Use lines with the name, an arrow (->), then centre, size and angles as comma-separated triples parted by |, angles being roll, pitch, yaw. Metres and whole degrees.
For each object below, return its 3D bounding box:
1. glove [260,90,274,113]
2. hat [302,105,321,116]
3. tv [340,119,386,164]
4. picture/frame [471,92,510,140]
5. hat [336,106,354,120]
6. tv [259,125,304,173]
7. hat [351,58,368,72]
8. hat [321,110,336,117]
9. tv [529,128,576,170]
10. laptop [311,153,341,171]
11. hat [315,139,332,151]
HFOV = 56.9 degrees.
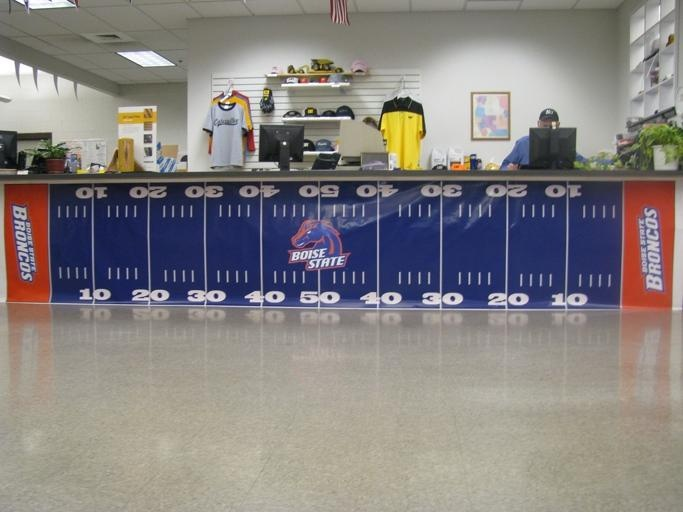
glove -> -1.055, -2.211, 8.961 | 0.212, 0.350, 0.186 | -2, 9, -8
hat -> -0.438, -2.018, 8.809 | 0.199, 0.194, 0.193 | 4, 3, 2
tv -> 0.222, -1.195, 6.638 | 0.425, 0.374, 0.432 | -3, 6, -6
picture/frame -> 2.098, -1.960, 8.744 | 0.635, 0.766, 0.051 | 1, -1, 0
hat -> 0.057, -1.988, 8.695 | 0.276, 0.230, 0.430 | 2, 14, 5
tv -> -0.607, -1.117, 6.434 | 0.409, 0.450, 0.322 | 7, 11, 39
hat -> 0.272, -2.618, 8.697 | 0.266, 0.188, 0.216 | -3, 9, -18
hat -> -0.156, -1.972, 8.722 | 0.148, 0.041, 0.152 | -14, 21, -38
tv -> 1.958, -0.992, 5.794 | 0.364, 0.377, 0.125 | 0, 12, 5
laptop -> -0.154, -0.900, 6.046 | 0.181, 0.086, 0.268 | -21, -2, 16
hat -> -0.234, -1.511, 8.574 | 0.238, 0.155, 0.415 | -1, 9, -3
